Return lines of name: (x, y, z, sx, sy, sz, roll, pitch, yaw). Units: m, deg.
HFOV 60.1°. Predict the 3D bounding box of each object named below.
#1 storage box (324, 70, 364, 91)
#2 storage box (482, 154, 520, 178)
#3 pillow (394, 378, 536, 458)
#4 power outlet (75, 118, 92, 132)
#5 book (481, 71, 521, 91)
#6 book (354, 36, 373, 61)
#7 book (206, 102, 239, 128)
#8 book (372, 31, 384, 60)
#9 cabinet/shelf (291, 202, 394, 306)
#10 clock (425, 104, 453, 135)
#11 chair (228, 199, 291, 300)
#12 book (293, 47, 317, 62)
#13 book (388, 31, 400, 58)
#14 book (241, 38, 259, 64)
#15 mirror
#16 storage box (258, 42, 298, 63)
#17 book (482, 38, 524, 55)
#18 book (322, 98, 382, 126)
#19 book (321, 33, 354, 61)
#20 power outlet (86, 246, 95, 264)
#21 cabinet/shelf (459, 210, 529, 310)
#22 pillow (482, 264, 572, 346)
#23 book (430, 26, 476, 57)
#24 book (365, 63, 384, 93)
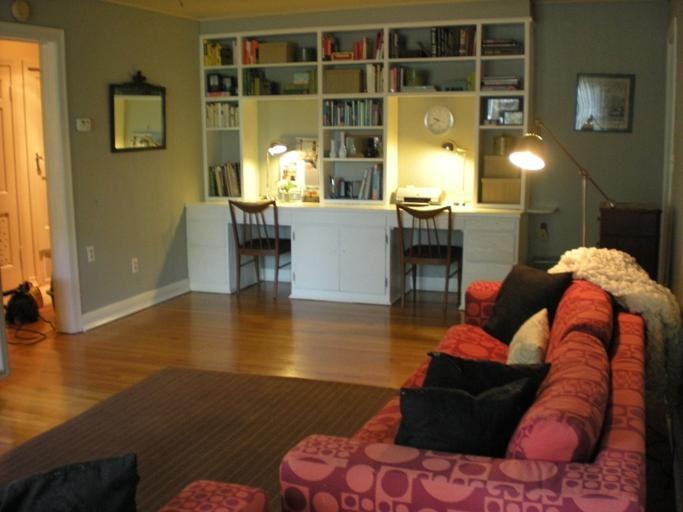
storage box: (0.012, -1.829, 6.190, 0.276, 0.179, 0.291, 1, 12, 8)
storage box: (1.620, -0.903, 6.086, 0.380, 0.259, 0.217, 2, 11, 20)
pillow: (0.448, 0.586, 2.156, 0.319, 0.131, 0.336, 4, 7, 18)
power outlet: (-2.307, -1.175, 5.286, 0.027, 0.114, 0.119, 2, 6, 25)
book: (1.589, -1.724, 5.888, 0.394, 0.154, 0.208, 2, 13, 12)
book: (0.224, -2.167, 6.179, 0.208, 0.225, 0.192, 3, 13, 15)
book: (-1.339, -1.588, 6.654, 0.246, 0.242, 0.148, 5, 18, 11)
book: (0.380, -2.171, 6.070, 0.080, 0.279, 0.110, -3, 12, -11)
cabinet/shelf: (0.042, -0.022, 6.117, 0.961, 0.881, 0.389, 2, 5, 16)
clock: (1.034, -1.453, 6.246, 0.299, 0.320, 0.043, 3, 15, 22)
chair: (-0.858, -0.145, 6.544, 0.582, 1.023, 0.719, 5, 13, 24)
book: (-0.396, -2.187, 6.480, 0.187, 0.146, 0.194, 1, 21, -4)
book: (0.543, -2.179, 6.081, 0.070, 0.246, 0.179, 2, 7, 12)
book: (-1.005, -2.240, 6.461, 0.217, 0.306, 0.164, 8, 16, 23)
mirror: (-2.030, -1.431, 5.826, 0.063, 0.854, 0.779, 5, 11, 24)
storage box: (-0.712, -2.188, 6.362, 0.269, 0.175, 0.278, 4, 14, 16)
book: (1.564, -2.037, 5.764, 0.400, 0.155, 0.081, 2, 12, 11)
book: (0.112, -1.524, 6.266, 0.645, 0.290, 0.241, 0, 12, 4)
book: (-0.044, -2.219, 6.263, 0.321, 0.292, 0.263, 1, 13, 8)
power outlet: (-2.319, -0.012, 5.448, 0.023, 0.185, 0.136, 3, 8, 21)
cabinet/shelf: (1.496, -0.074, 6.007, 0.717, 1.051, 0.713, -10, 28, -9)
pillow: (1.101, 0.219, 3.722, 0.363, 0.637, 0.708, 7, 1, -15)
book: (1.115, -2.157, 5.947, 0.427, 0.298, 0.215, 1, 12, 8)
book: (0.346, -1.822, 6.168, 0.226, 0.320, 0.317, 1, 9, 8)
